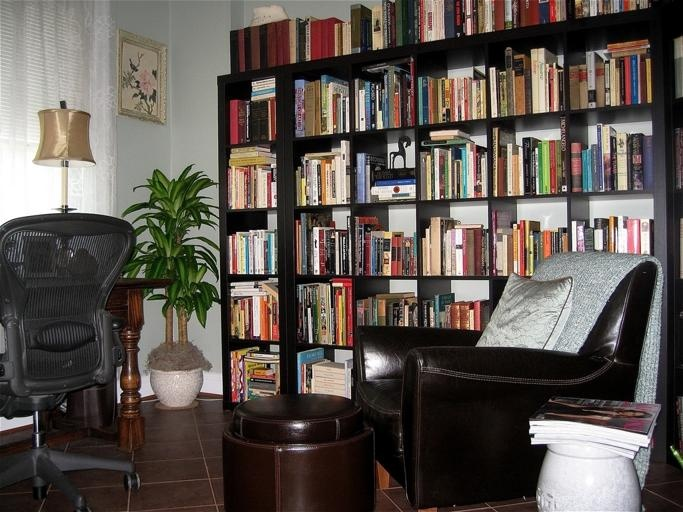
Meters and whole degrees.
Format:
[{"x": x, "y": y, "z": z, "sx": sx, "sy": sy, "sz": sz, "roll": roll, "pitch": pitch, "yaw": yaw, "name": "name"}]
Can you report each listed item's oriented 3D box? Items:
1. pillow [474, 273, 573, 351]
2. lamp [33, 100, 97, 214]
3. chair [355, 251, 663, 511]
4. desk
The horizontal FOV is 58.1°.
[{"x": 0.794, "y": 0.241, "z": 2.605, "sx": 0.102, "sy": 0.338, "sz": 0.339, "roll": 28, "pitch": -24, "yaw": -26, "name": "pillow"}, {"x": -1.589, "y": -0.577, "z": 3.490, "sx": 0.315, "sy": 0.650, "sz": 0.893, "roll": -2, "pitch": 4, "yaw": -25, "name": "lamp"}, {"x": 0.697, "y": 0.537, "z": 2.969, "sx": 1.161, "sy": 1.277, "sz": 1.121, "roll": 1, "pitch": -4, "yaw": -11, "name": "chair"}, {"x": -1.486, "y": 0.651, "z": 3.494, "sx": 0.730, "sy": 0.927, "sz": 0.635, "roll": -1, "pitch": -8, "yaw": -17, "name": "desk"}]
